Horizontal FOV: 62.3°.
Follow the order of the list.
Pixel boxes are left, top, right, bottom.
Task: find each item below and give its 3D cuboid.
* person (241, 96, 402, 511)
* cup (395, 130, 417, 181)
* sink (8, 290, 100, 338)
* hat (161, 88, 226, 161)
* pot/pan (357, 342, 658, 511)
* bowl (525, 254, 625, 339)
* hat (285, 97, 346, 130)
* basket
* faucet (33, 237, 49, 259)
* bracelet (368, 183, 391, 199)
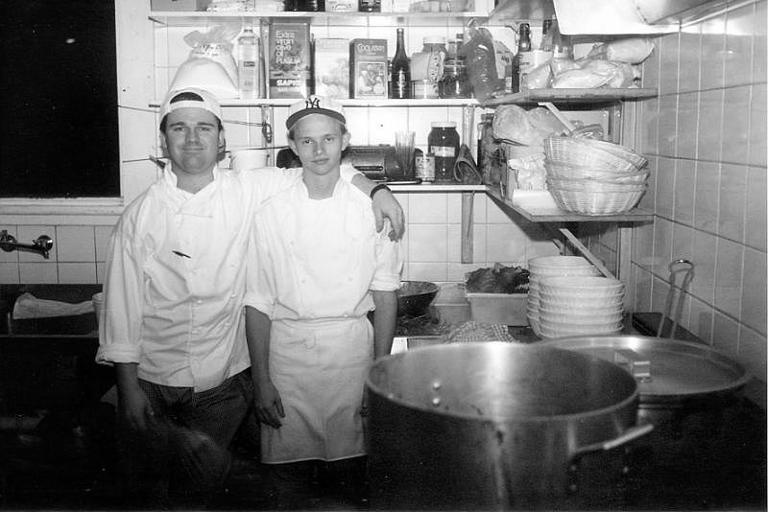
[{"bbox_3d":[-0.204,0.105,1.908,0.519,1.147,0.705,-1,11,2],"label":"person"},{"bbox_3d":[0.095,-0.465,2.980,0.084,0.218,0.090,6,-1,0],"label":"cup"},{"bbox_3d":[-1.564,0.297,3.023,0.486,0.151,0.352,2,17,-10],"label":"sink"},{"bbox_3d":[-0.624,-0.429,2.097,0.210,0.228,0.267,-1,-18,-26],"label":"hat"},{"bbox_3d":[0.234,0.354,1.282,0.437,0.157,0.465,0,4,-4],"label":"pot/pan"},{"bbox_3d":[0.648,0.148,2.204,0.304,0.196,0.301,-1,7,0],"label":"bowl"},{"bbox_3d":[-0.214,-0.452,2.016,0.183,0.103,0.099,-3,11,-7],"label":"hat"},{"bbox_3d":[0.644,-0.256,1.998,0.303,0.184,0.250,-1,10,-3],"label":"basket"},{"bbox_3d":[-1.657,-0.049,3.102,0.071,0.040,0.158,-7,33,-24],"label":"faucet"},{"bbox_3d":[-0.003,-0.220,2.159,0.061,0.046,0.063,-3,8,-3],"label":"bracelet"}]
